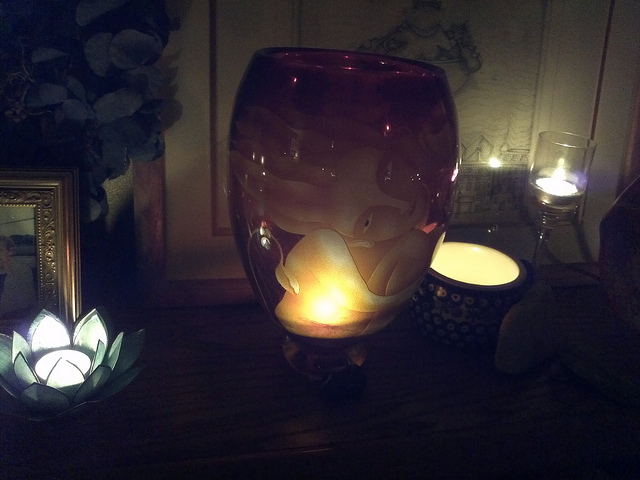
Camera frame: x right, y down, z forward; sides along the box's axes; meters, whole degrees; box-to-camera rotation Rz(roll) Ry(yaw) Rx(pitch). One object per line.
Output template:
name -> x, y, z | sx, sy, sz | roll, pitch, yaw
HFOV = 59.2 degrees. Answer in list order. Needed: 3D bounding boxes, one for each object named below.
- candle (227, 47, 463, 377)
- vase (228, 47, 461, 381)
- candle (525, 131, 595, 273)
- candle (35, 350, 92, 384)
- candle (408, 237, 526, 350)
candle -> 0.021, -0.026, 0.662 | 0.244, 0.354, 0.248 | 3, 13, -6
vase -> 0.024, -0.027, 0.658 | 0.242, 0.349, 0.244 | 3, 13, -2
candle -> 0.320, -0.052, 0.774 | 0.085, 0.187, 0.194 | 11, 16, 25
candle -> -0.282, 0.136, 0.621 | 0.056, 0.019, 0.049 | -4, 18, -29
candle -> 0.203, 0.093, 0.728 | 0.161, 0.085, 0.124 | 8, 11, 9
